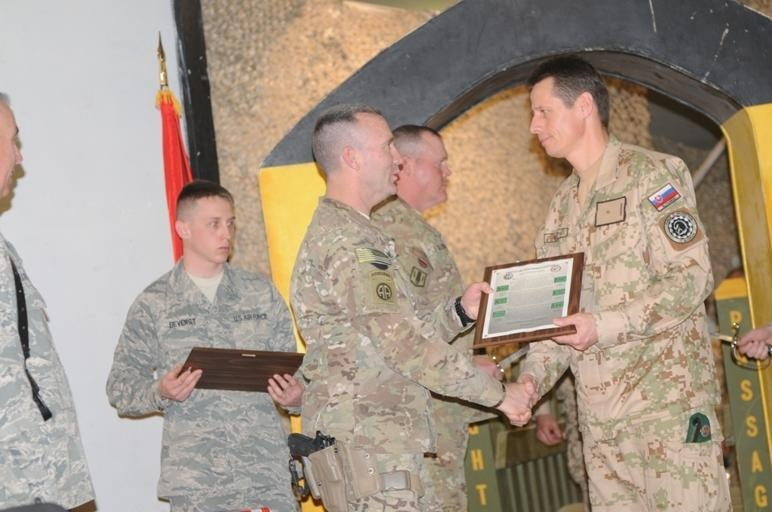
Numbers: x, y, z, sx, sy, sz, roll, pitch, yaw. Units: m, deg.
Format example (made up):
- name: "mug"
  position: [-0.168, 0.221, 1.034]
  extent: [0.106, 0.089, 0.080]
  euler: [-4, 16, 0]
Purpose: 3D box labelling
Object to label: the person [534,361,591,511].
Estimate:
- name: "person"
  position: [1.258, 1.219, 6.433]
  extent: [0.286, 1.379, 0.364]
  euler: [-6, 14, 17]
